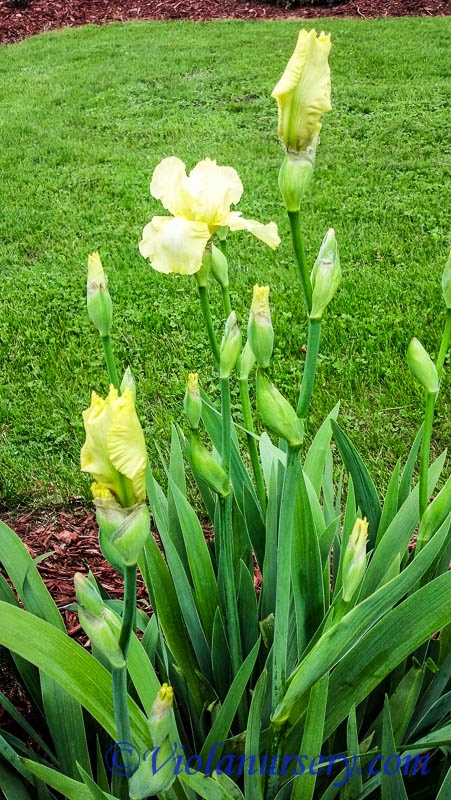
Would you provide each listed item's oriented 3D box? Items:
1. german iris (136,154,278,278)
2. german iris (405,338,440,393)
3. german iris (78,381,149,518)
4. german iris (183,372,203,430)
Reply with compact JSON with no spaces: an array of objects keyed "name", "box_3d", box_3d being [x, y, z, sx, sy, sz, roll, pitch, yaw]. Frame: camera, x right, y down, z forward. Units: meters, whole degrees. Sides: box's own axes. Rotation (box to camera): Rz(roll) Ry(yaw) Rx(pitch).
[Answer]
[{"name":"german iris","box_3d":[-0.033,-0.274,1.091,0.146,0.081,0.220,1,3,29]},{"name":"german iris","box_3d":[0.295,-0.040,1.053,0.032,0.108,0.027,-18,20,8]},{"name":"german iris","box_3d":[-0.103,0.045,0.689,0.058,0.145,0.052,9,30,23]},{"name":"german iris","box_3d":[-0.047,0.005,1.026,0.027,0.101,0.028,-10,29,-21]}]
